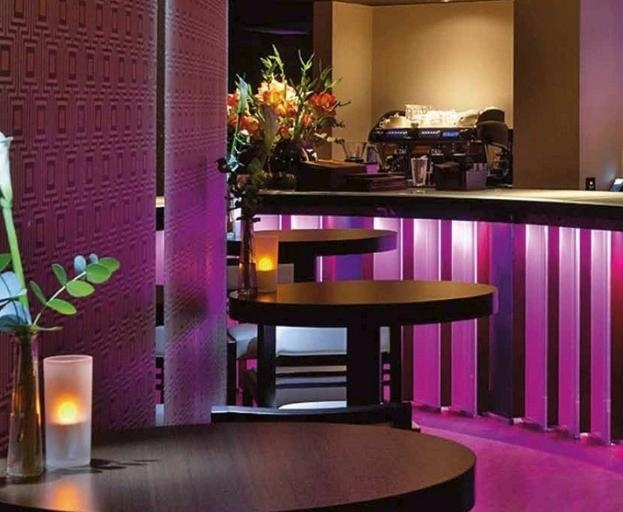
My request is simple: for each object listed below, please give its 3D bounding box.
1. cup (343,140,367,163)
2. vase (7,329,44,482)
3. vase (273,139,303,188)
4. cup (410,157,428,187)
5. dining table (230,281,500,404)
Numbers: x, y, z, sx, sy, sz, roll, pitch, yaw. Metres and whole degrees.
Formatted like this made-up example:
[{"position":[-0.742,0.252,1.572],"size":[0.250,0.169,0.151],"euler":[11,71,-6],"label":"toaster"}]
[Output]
[{"position":[0.301,-0.759,4.231],"size":[0.177,0.177,0.210],"euler":[1,9,22],"label":"cup"},{"position":[-0.413,0.201,0.838],"size":[0.048,0.211,0.114],"euler":[-3,6,-27],"label":"vase"},{"position":[-0.155,-0.643,3.895],"size":[0.228,0.319,0.252],"euler":[-8,28,-15],"label":"vase"},{"position":[0.747,-0.590,4.069],"size":[0.101,0.207,0.204],"euler":[0,6,8],"label":"cup"},{"position":[0.199,0.317,2.071],"size":[0.960,0.401,0.420],"euler":[-2,6,-11],"label":"dining table"}]
